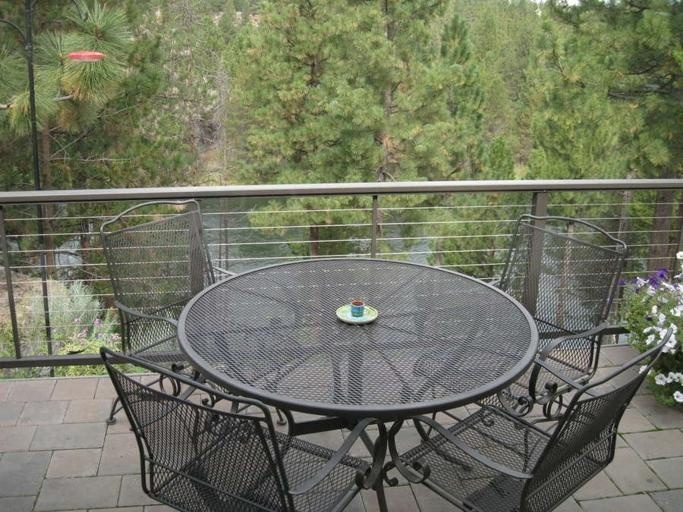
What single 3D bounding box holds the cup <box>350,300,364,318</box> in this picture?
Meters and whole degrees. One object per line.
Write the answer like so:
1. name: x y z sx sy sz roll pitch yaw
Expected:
1. cup: 0.065 0.246 3.229 0.067 0.063 0.064 2 27 -1
